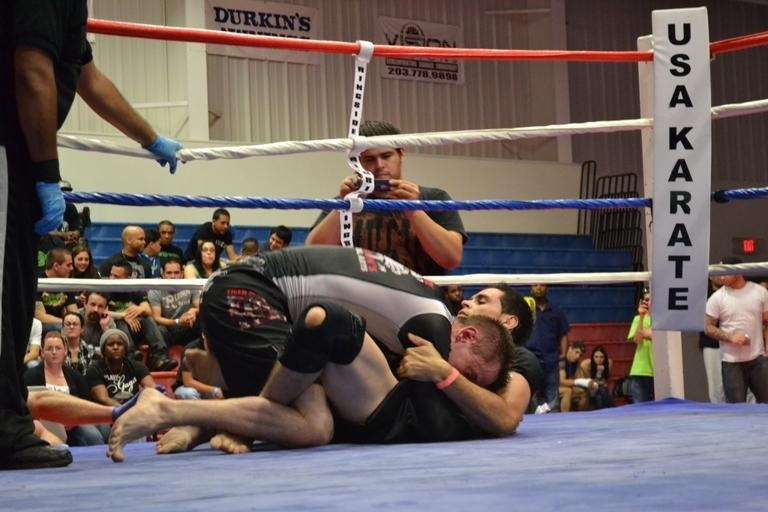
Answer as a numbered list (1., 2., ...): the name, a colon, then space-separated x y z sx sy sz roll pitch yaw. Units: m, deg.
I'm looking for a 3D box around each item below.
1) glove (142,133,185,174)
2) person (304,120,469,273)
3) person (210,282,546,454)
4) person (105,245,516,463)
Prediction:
1. glove: -0.919 -0.408 3.683 0.142 0.174 0.060 -26 4 -37
2. person: 0.003 -0.089 4.162 0.784 1.039 0.566 2 1 4
3. person: 0.191 0.389 3.584 0.879 0.690 0.353 -10 41 -3
4. person: -0.250 0.403 3.517 1.200 0.659 0.835 3 -6 -8
